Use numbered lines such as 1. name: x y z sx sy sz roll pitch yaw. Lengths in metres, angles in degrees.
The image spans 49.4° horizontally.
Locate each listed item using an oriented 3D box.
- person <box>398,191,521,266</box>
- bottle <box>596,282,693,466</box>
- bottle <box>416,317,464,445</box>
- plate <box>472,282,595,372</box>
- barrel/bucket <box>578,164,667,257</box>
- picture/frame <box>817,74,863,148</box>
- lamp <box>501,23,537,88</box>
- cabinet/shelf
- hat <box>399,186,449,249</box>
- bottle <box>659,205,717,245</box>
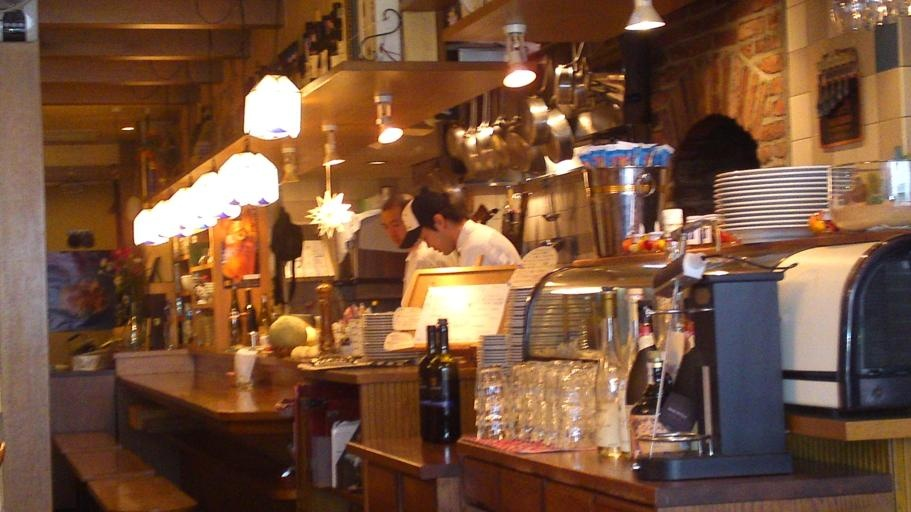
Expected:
1. person: 0.006 -0.193 6.895 0.539 0.537 1.325 1 -2 -24
2. bottle: 0.768 0.487 4.077 0.271 0.703 0.393 1 -2 -18
3. bottle: -0.088 0.632 5.013 0.212 0.625 0.121 0 -2 5
4. plate: 0.354 0.410 4.606 0.755 0.428 0.369 0 -7 2
5. barrel/bucket: 0.760 -0.211 4.867 0.464 0.420 0.469 -1 1 0
6. picture/frame: 2.251 -0.841 5.805 0.033 0.405 0.256 2 -3 -41
7. lamp: 0.381 -1.217 5.968 0.175 0.391 0.276 0 -2 2
8. cabinet/shelf: -2.393 0.249 9.695 0.493 1.280 1.588 3 -7 -32
9. hat: -0.256 -0.218 7.023 0.237 0.397 0.277 -7 -5 -3
10. bottle: 1.060 -0.142 4.492 0.189 0.093 0.231 1 -3 4
